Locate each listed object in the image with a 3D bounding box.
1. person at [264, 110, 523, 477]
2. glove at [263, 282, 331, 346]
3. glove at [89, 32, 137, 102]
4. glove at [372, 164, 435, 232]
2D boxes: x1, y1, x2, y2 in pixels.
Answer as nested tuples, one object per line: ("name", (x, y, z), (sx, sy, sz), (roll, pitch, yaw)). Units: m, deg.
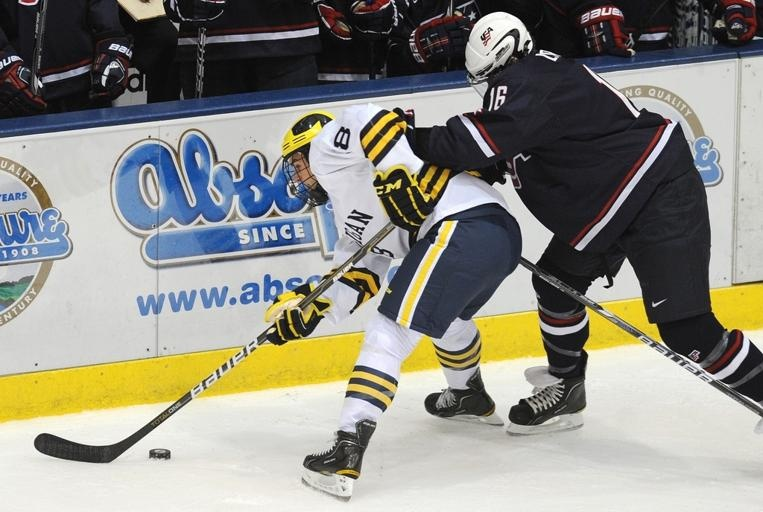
("person", (0.068, 0.113, 4.343), (1.091, 1.600, 0.674), (-8, 14, -17))
("glove", (-0.401, 0.273, 4.445), (0.318, 0.227, 0.142), (-26, 0, -14))
("glove", (-1.584, -1.119, 5.625), (0.288, 0.350, 0.151), (3, 4, -29))
("glove", (0.114, -0.268, 4.183), (0.199, 0.274, 0.118), (-35, 5, 22))
